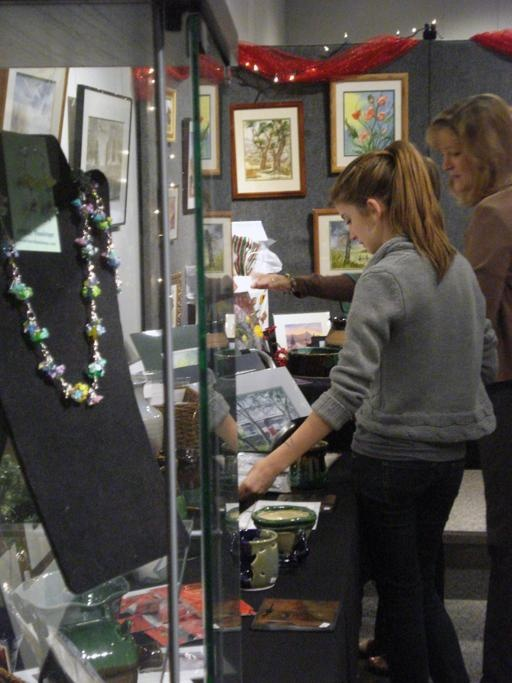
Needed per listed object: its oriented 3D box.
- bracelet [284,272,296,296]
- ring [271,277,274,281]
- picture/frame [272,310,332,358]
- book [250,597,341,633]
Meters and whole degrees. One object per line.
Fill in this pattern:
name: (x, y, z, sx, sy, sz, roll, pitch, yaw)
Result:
bracelet: (0.116, -0.209, 2.422, 0.038, 0.063, 0.052, 1, 8, -3)
ring: (0.062, -0.224, 2.375, 0.011, 0.009, 0.017, -2, -3, 3)
picture/frame: (0.202, -0.027, 2.921, 0.237, 0.146, 0.010, -2, -20, -24)
book: (0.060, 0.403, 0.959, 0.143, 0.013, 0.101, -3, 5, 2)
